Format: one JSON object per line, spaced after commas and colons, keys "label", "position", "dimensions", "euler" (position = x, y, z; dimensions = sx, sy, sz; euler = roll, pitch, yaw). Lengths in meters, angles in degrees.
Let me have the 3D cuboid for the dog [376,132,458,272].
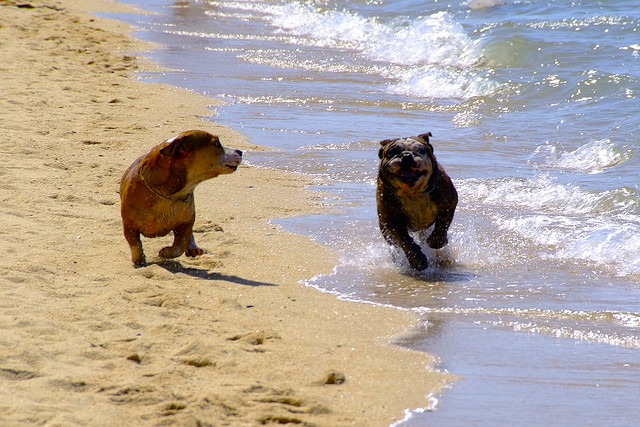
{"label": "dog", "position": [1.253, -0.145, 12.413], "dimensions": [1.390, 1.541, 2.238], "euler": [-9, -14, 2]}
